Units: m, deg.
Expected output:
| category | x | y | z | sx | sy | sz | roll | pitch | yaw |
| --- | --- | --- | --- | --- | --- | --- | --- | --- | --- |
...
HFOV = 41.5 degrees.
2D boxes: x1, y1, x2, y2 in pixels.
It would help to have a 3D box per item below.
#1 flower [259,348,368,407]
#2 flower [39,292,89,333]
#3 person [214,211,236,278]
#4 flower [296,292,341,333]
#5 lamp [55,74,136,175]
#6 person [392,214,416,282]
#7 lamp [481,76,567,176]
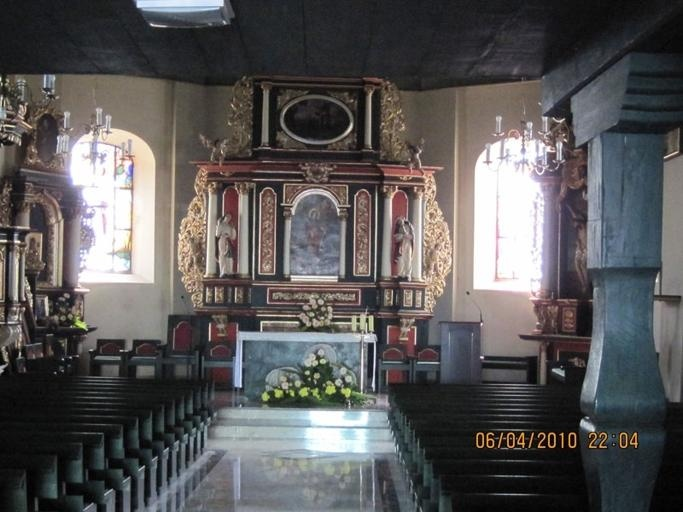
| category | x | y | z | sx | sy | sz | roll | pitch | yaw |
| --- | --- | --- | --- | --- | --- | --- | --- | --- | --- |
| flower | -0.302 | 1.573 | 11.785 | 1.216 | 0.444 | 1.208 | 0 | 30 | -48 |
| flower | -4.405 | 0.872 | 14.535 | 0.569 | 0.804 | 0.889 | -6 | -5 | 33 |
| person | -1.820 | -0.167 | 14.538 | 0.344 | 0.982 | 0.291 | -1 | 5 | -8 |
| flower | -0.336 | 0.864 | 13.080 | 0.421 | 0.557 | 0.246 | 7 | 18 | 0 |
| lamp | -3.783 | -2.051 | 13.940 | 1.217 | 1.585 | 4.485 | -2 | 5 | -14 |
| person | 1.025 | -0.116 | 14.540 | 0.312 | 0.997 | 0.327 | 0 | 5 | 5 |
| lamp | 2.559 | -2.034 | 13.941 | 1.126 | 1.432 | 1.203 | 5 | 3 | 31 |
